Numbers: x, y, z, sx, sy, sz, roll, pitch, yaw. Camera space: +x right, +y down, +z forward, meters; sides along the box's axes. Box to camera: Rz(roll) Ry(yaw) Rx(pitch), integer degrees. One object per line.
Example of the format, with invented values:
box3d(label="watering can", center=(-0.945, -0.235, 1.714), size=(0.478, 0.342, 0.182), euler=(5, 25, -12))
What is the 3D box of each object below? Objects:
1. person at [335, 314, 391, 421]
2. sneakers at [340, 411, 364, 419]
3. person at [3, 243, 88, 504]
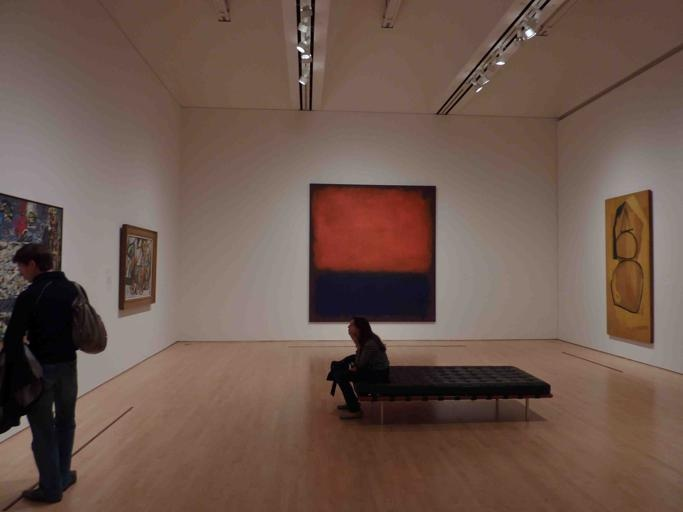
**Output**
box3d(label="person", center=(0.276, 1.647, 6.775), size=(0.803, 1.526, 0.737), euler=(3, 0, 11))
box3d(label="sneakers", center=(0.162, 2.346, 6.706), size=(0.335, 0.158, 0.124), euler=(3, -1, -2))
box3d(label="person", center=(-3.189, 1.254, 4.779), size=(0.652, 2.747, 0.385), euler=(-2, 3, -35))
